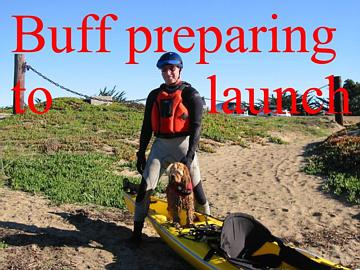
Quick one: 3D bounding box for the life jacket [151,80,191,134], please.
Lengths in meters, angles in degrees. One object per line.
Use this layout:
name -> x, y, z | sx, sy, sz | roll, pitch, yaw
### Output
life jacket -> -0.170, -0.417, 6.873 | 0.486, 1.164, 0.516 | 2, 3, 28
